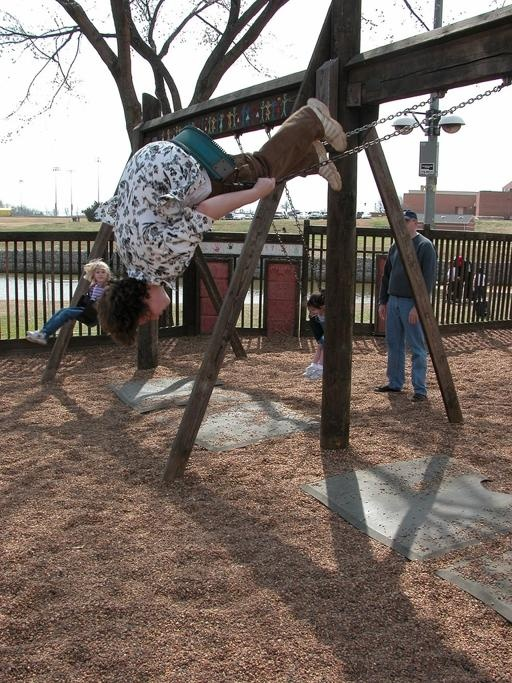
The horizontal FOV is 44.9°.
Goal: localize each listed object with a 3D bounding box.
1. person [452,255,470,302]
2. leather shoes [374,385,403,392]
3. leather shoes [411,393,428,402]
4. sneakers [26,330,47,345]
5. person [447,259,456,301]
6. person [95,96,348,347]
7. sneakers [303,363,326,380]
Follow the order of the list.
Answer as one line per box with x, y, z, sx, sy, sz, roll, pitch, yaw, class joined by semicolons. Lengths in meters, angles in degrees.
3.729;-1.142;11.138;0.208;0.693;0.575;5;1;28;person
1.351;0.481;6.308;0.279;0.104;0.090;-3;2;17;leather shoes
1.551;0.523;5.861;0.060;0.060;0.165;7;9;34;leather shoes
-2.522;-0.049;7.108;0.233;0.139;0.106;24;4;-35;sneakers
3.480;-1.093;10.956;0.141;0.722;0.460;5;11;28;person
-0.187;-0.660;3.322;0.643;1.277;1.263;7;12;35;person
0.661;0.340;7.045;0.147;0.148;0.226;3;15;-12;sneakers
